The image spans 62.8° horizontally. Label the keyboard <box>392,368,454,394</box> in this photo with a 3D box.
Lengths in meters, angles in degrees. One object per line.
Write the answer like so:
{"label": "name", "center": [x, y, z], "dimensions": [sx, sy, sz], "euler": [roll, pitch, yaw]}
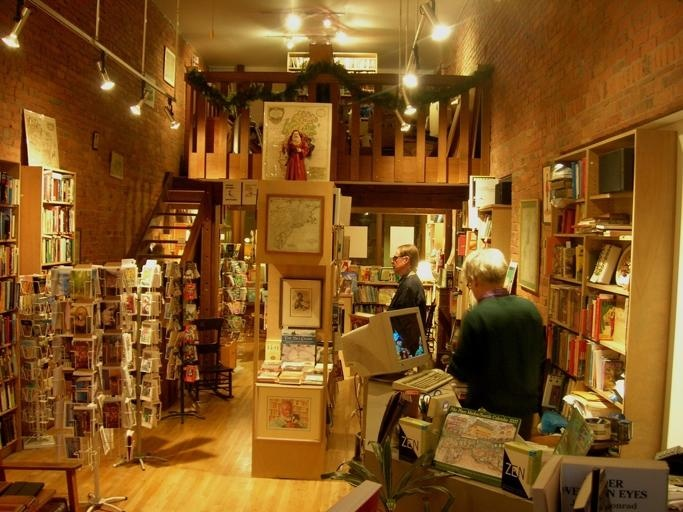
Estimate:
{"label": "keyboard", "center": [0.632, 0.973, 4.182], "dimensions": [0.439, 0.136, 0.458], "euler": [0, 5, -14]}

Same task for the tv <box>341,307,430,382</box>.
{"label": "tv", "center": [0.337, 0.720, 4.608], "dimensions": [0.570, 0.478, 0.587], "euler": [-5, -1, 37]}

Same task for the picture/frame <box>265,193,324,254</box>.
{"label": "picture/frame", "center": [-0.485, -0.341, 5.762], "dimensions": [0.544, 0.609, 0.021], "euler": [1, 0, -3]}

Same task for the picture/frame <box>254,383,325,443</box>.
{"label": "picture/frame", "center": [-0.537, 1.620, 5.804], "dimensions": [0.552, 0.517, 0.080], "euler": [1, -2, 1]}

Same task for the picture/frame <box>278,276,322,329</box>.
{"label": "picture/frame", "center": [-0.435, 0.511, 6.068], "dimensions": [0.513, 0.669, 0.028], "euler": [0, 0, -2]}

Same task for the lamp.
{"label": "lamp", "center": [1.428, -3.372, 9.906], "dimensions": [1.022, 0.488, 2.385], "euler": [16, -25, 9]}
